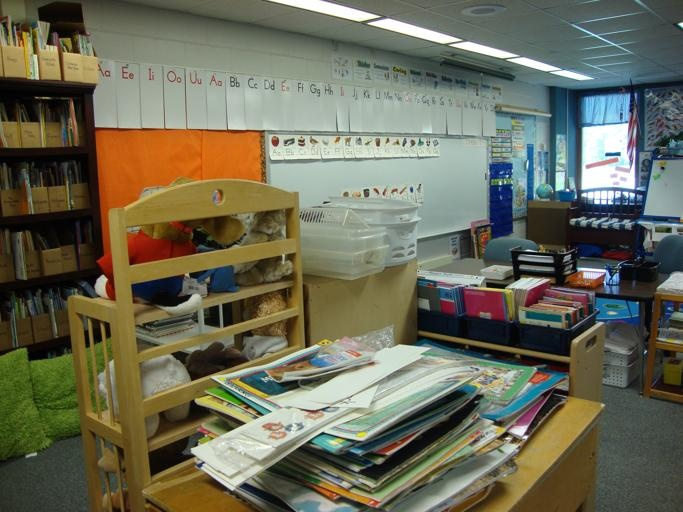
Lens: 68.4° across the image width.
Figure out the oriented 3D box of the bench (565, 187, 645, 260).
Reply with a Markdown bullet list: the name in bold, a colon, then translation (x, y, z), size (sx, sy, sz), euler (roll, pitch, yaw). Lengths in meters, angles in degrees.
- **bench**: translation (4.159, -0.486, 7.831), size (1.261, 1.078, 0.742), euler (5, 9, 43)

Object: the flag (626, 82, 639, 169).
- **flag**: translation (4.822, -2.107, 8.231), size (0.191, 1.366, 1.736), euler (5, 13, 29)

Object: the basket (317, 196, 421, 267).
- **basket**: translation (0.146, -0.127, 2.521), size (0.347, 0.260, 0.485), euler (-7, 8, -45)

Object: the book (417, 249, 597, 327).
- **book**: translation (1.020, 0.198, 3.031), size (0.735, 0.153, 0.697), euler (6, 10, 39)

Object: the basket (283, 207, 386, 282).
- **basket**: translation (-0.031, -0.047, 2.200), size (0.439, 0.247, 0.330), euler (3, 6, 40)

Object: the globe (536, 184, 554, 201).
- **globe**: translation (3.535, -1.094, 8.873), size (0.298, 0.297, 0.300), euler (-2, 0, 44)
